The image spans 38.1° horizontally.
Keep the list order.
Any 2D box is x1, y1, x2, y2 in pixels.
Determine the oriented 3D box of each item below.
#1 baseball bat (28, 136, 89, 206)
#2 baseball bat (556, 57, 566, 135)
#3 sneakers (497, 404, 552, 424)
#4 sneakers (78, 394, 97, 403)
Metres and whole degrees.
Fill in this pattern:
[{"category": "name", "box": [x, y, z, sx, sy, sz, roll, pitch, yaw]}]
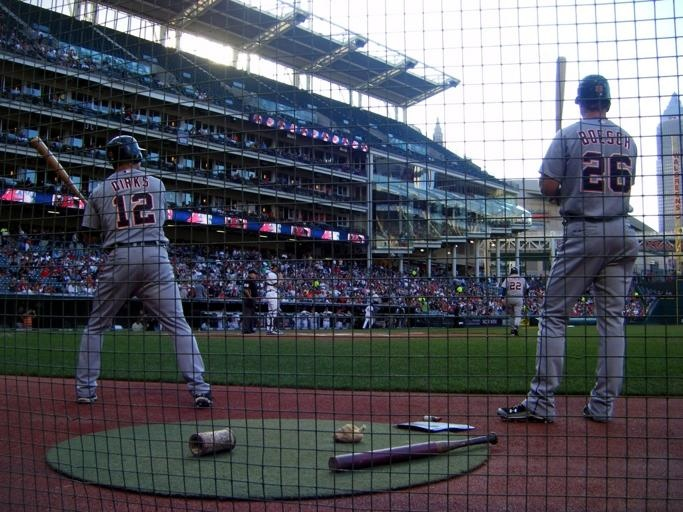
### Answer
[{"category": "baseball bat", "box": [-2.132, -0.642, 7.410, 0.106, 0.772, 0.124, -39, 13, 27]}, {"category": "baseball bat", "box": [1.421, -1.040, 6.478, 0.050, 0.423, 0.047, 2, 9, 1]}, {"category": "sneakers", "box": [1.444, 1.276, 7.930, 0.461, 0.201, 0.161, 3, -9, 13]}, {"category": "sneakers", "box": [-2.147, 1.209, 8.353, 0.064, 0.076, 0.170, -6, -31, 16]}]
